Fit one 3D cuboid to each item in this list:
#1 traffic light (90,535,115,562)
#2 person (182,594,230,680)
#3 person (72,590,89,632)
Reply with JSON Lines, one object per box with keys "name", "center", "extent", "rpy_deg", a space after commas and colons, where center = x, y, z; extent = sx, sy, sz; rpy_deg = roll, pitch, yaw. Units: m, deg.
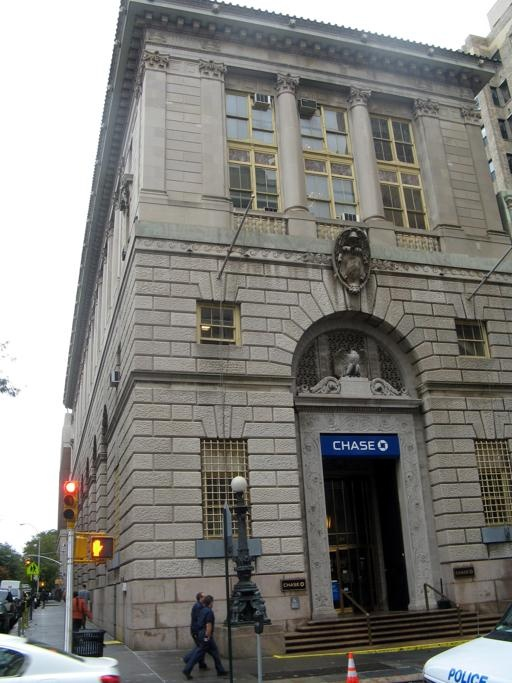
{"name": "traffic light", "center": [-3.012, 4.036, 12.527], "extent": [0.439, 0.455, 0.495], "rpy_deg": [3, -23, -14]}
{"name": "person", "center": [-1.059, 6.100, 13.376], "extent": [0.842, 1.531, 1.821], "rpy_deg": [-2, -23, -4]}
{"name": "person", "center": [-4.331, 6.682, 15.889], "extent": [0.382, 0.792, 1.207], "rpy_deg": [3, -23, -15]}
